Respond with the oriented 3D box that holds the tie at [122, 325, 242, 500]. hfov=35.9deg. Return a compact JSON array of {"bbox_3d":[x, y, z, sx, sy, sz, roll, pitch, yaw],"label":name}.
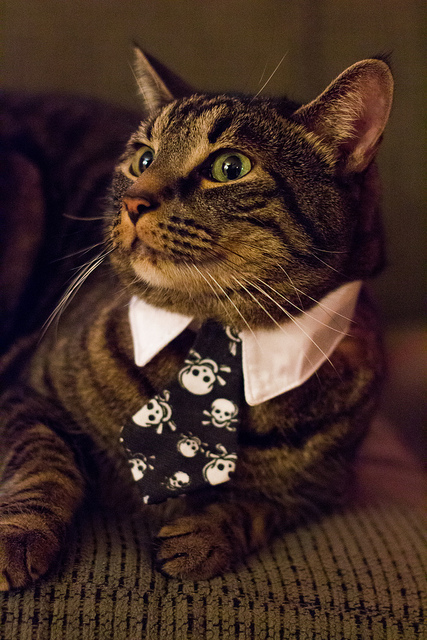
[{"bbox_3d":[-0.017,0.115,0.760,0.159,0.149,0.112,-17,36,-24],"label":"tie"}]
